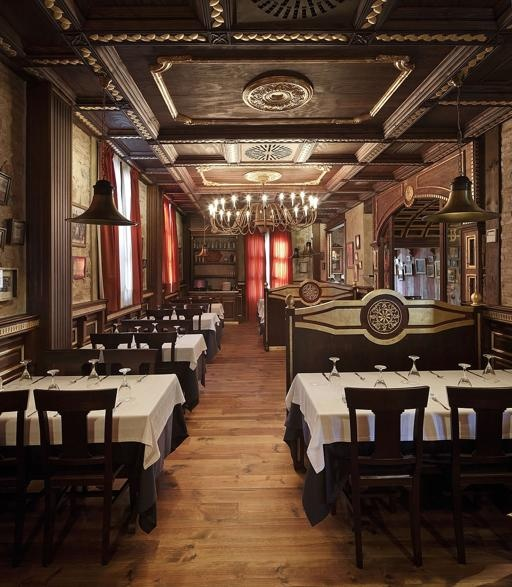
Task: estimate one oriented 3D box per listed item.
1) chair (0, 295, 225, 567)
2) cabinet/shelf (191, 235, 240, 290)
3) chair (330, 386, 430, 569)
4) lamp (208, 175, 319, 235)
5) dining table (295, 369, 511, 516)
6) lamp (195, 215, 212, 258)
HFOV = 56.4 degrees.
[{"bbox_3d":[-1.038,0.980,3.398,0.972,1.049,1.580,0,5,3],"label":"chair"},{"bbox_3d":[-1.191,-0.878,13.447,1.596,2.008,0.588,0,-2,-5],"label":"cabinet/shelf"},{"bbox_3d":[0.787,1.011,2.887,0.451,1.059,0.661,1,5,15],"label":"chair"},{"bbox_3d":[0.145,-1.606,9.558,2.186,0.816,2.233,-5,-3,41],"label":"lamp"},{"bbox_3d":[0.921,0.946,2.912,1.000,0.354,0.922,-1,1,-3],"label":"dining table"},{"bbox_3d":[-1.393,-1.491,12.843,0.383,1.034,1.374,-1,5,-7],"label":"lamp"}]
